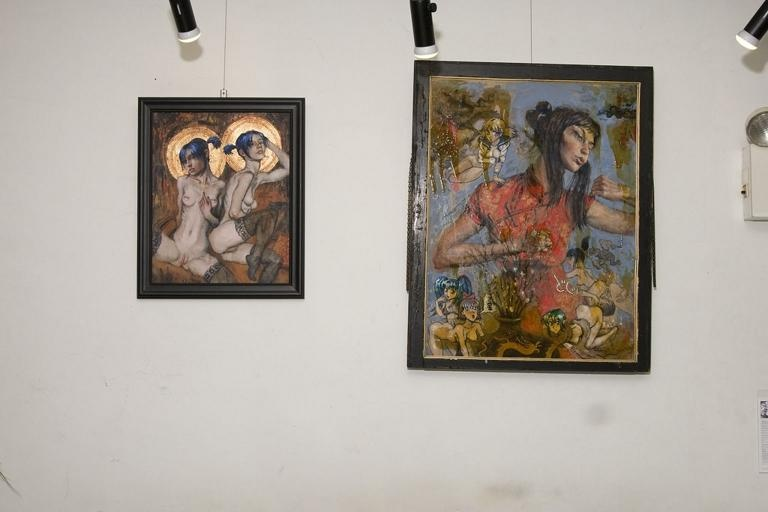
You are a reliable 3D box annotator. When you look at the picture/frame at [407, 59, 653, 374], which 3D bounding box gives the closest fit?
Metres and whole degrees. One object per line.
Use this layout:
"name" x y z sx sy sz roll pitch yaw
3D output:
"picture/frame" 0.848 -0.180 5.624 1.704 2.256 0.141 0 0 1
